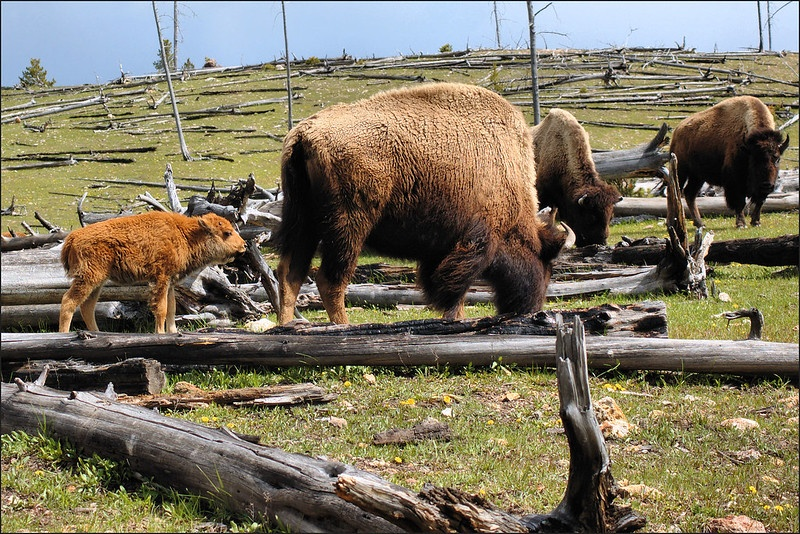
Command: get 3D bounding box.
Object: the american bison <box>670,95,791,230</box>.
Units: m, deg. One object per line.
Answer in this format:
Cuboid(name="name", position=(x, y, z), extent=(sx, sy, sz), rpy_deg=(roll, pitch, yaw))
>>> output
Cuboid(name="american bison", position=(8.797, -2.690, 25.106), extent=(1.682, 3.462, 5.157), rpy_deg=(-1, 6, -5))
